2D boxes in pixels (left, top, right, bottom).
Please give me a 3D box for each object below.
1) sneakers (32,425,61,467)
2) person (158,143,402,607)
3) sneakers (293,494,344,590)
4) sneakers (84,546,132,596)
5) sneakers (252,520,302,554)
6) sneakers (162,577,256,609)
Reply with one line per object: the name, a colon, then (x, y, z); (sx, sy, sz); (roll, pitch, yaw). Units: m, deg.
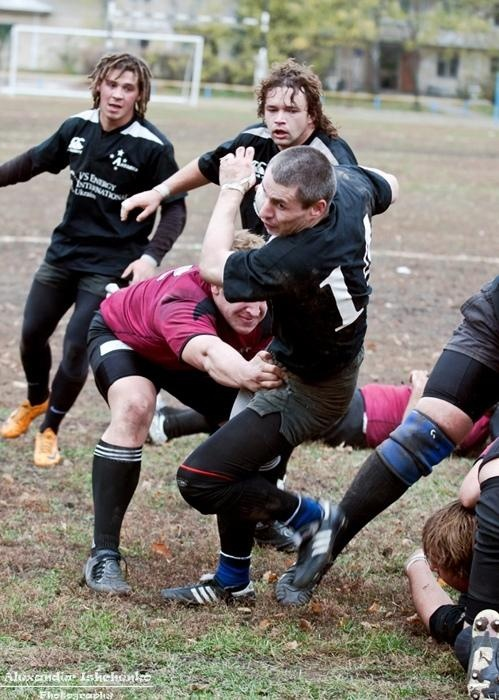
sneakers: (-1.128, 0.561, 4.431); (0.109, 0.096, 0.263); (-1, 16, -11)
person: (0.083, 0.133, 2.894); (0.633, 1.751, 0.693); (6, 10, 15)
sneakers: (0.220, 0.716, 2.974); (0.185, 0.358, 0.130); (10, 18, -10)
sneakers: (-0.546, 0.861, 3.069); (0.167, 0.160, 0.173); (0, 9, -17)
sneakers: (0.110, 0.834, 3.500); (0.289, 0.113, 0.106); (1, 3, 40)
sneakers: (-0.151, 0.930, 3.044); (0.355, 0.096, 0.120); (3, -13, -4)
